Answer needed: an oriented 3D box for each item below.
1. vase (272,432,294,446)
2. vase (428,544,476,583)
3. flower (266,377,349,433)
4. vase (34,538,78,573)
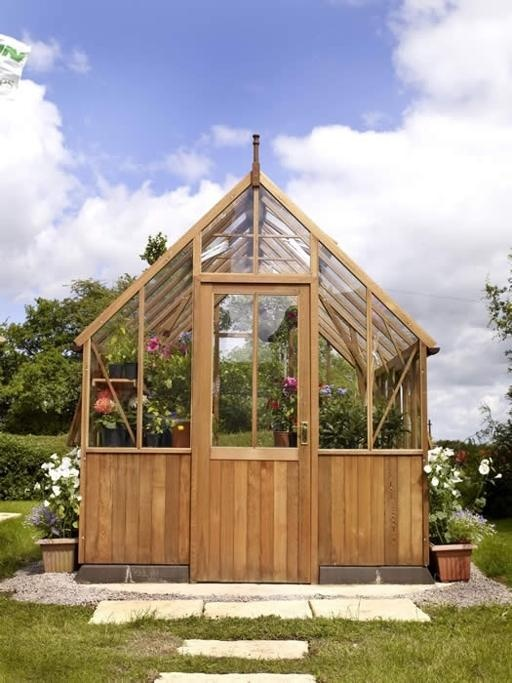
[{"bbox_3d":[0.281,0.973,7.371,0.152,0.098,0.153,11,-14,-40],"label":"vase"},{"bbox_3d":[1.938,2.190,7.434,0.428,0.357,0.369,1,-13,-2],"label":"vase"},{"bbox_3d":[0.478,0.677,7.689,0.652,0.466,0.582,-1,-14,3],"label":"flower"},{"bbox_3d":[-1.967,2.145,7.499,0.390,0.314,0.337,2,-13,-9],"label":"vase"}]
